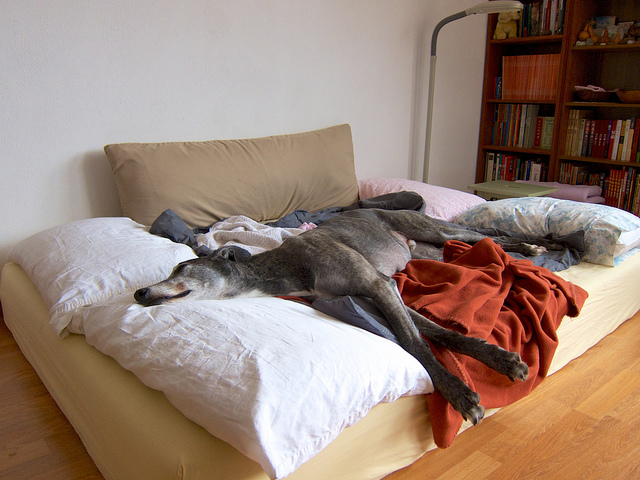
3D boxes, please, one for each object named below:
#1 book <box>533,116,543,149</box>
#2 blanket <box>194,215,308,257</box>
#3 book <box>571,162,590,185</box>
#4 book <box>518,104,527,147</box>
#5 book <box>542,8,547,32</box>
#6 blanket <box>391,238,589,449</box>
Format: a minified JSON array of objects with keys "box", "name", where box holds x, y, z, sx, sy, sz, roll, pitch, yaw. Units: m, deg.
[{"box":[2.022,-0.996,4.241,0.052,0.221,0.223,7,8,34],"name":"book"},{"box":[-0.415,-0.028,2.396,0.423,0.099,0.565,-16,26,-41],"name":"blanket"},{"box":[2.281,-0.574,4.015,0.064,0.170,0.180,10,21,34],"name":"book"},{"box":[1.915,-1.072,4.330,0.063,0.269,0.264,5,41,12],"name":"book"},{"box":[1.967,-1.929,4.011,0.031,0.185,0.012,13,24,28],"name":"book"},{"box":[0.690,0.276,1.876,0.798,0.220,0.622,-41,64,-20],"name":"blanket"}]
